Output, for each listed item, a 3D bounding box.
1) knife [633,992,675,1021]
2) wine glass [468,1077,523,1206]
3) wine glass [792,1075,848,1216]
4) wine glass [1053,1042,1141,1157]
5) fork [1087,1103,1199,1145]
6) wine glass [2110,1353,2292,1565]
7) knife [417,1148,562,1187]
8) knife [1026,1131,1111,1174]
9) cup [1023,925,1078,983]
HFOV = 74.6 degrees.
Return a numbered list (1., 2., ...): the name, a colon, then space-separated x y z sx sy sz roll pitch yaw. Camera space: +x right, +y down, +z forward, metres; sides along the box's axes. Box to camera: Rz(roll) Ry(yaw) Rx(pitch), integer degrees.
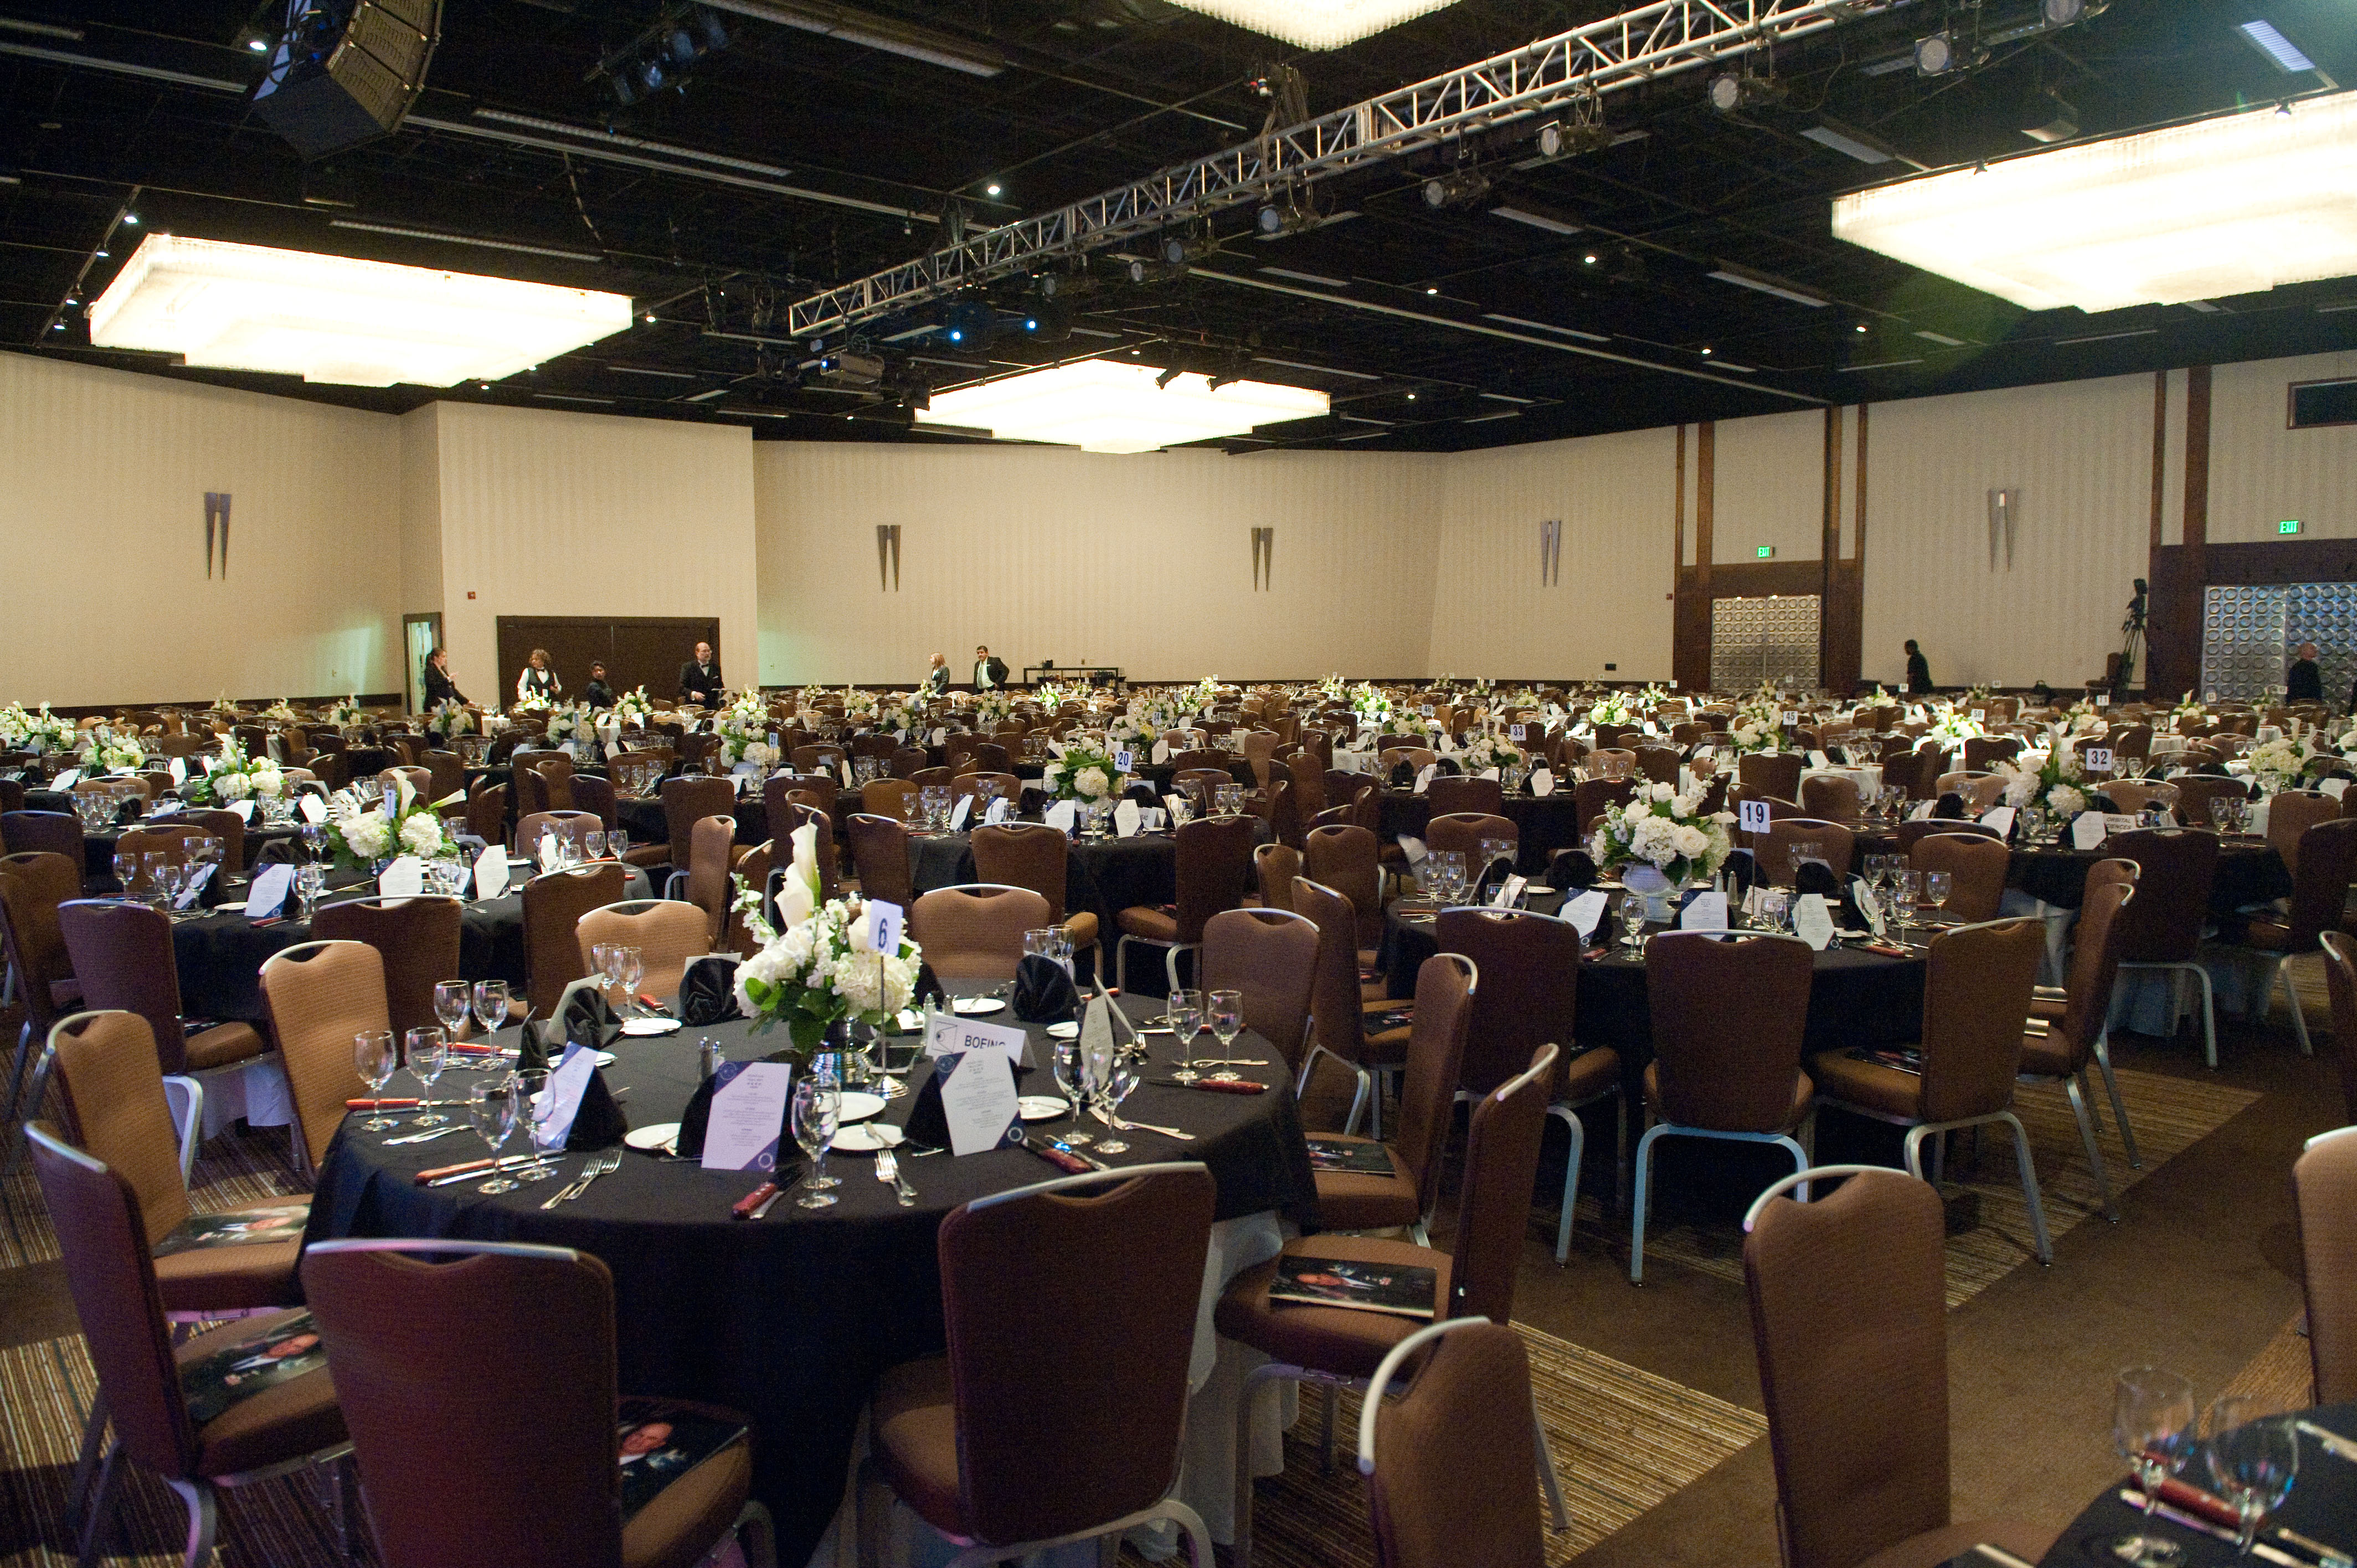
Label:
1. knife: -1.891 0.791 5.572 0.092 0.101 0.267 2 0 -36
2. wine glass: -1.895 0.943 4.315 0.113 0.273 0.191 -2 5 -25
3. wine glass: -0.986 0.944 4.208 0.118 0.318 0.341 -1 5 -13
4. wine glass: -0.246 0.896 4.502 0.202 0.295 0.351 0 4 -5
5. fork: -0.111 1.004 4.530 0.264 0.042 0.047 12 39 28
6. wine glass: 2.227 1.418 3.303 0.403 0.322 0.238 -1 5 -17
7. knife: -1.912 1.072 4.305 0.269 0.030 0.062 -4 17 -25
8. knife: -0.320 1.048 4.370 0.080 0.035 0.292 -26 26 -35
9. cup: -0.452 0.592 5.420 0.222 0.244 0.238 1 -7 0
